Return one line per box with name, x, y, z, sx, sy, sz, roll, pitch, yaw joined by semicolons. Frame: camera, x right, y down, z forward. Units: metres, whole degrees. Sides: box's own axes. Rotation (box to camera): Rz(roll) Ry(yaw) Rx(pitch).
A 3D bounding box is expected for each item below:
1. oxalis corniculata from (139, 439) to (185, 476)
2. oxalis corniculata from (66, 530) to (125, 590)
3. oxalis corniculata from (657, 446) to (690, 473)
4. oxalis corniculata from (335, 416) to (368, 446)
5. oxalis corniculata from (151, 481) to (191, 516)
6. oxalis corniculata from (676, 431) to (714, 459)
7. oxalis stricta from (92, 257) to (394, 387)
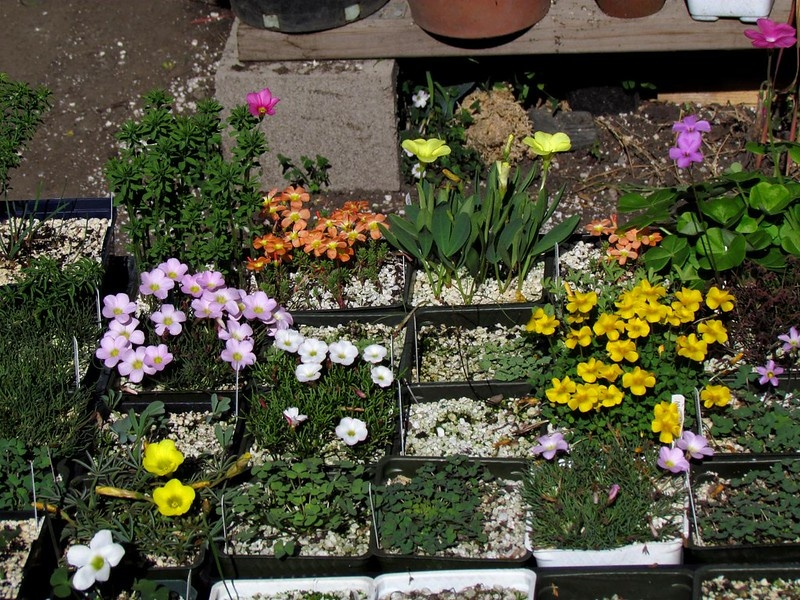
oxalis corniculata;-0.996;0.669;3.517;0.160;0.103;0.176;19;77;-8
oxalis corniculata;-1.171;1.019;3.234;0.226;0.099;0.231;-6;56;7
oxalis corniculata;1.172;0.689;3.568;0.116;0.055;0.113;-41;55;-13
oxalis corniculata;-0.216;0.593;3.770;0.134;0.057;0.127;30;69;15
oxalis corniculata;-0.924;0.832;3.401;0.148;0.083;0.156;5;36;-5
oxalis corniculata;1.273;0.631;3.595;0.125;0.051;0.135;6;58;2
oxalis stricta;-1.010;0.119;4.102;0.845;0.288;0.676;-27;80;-23
